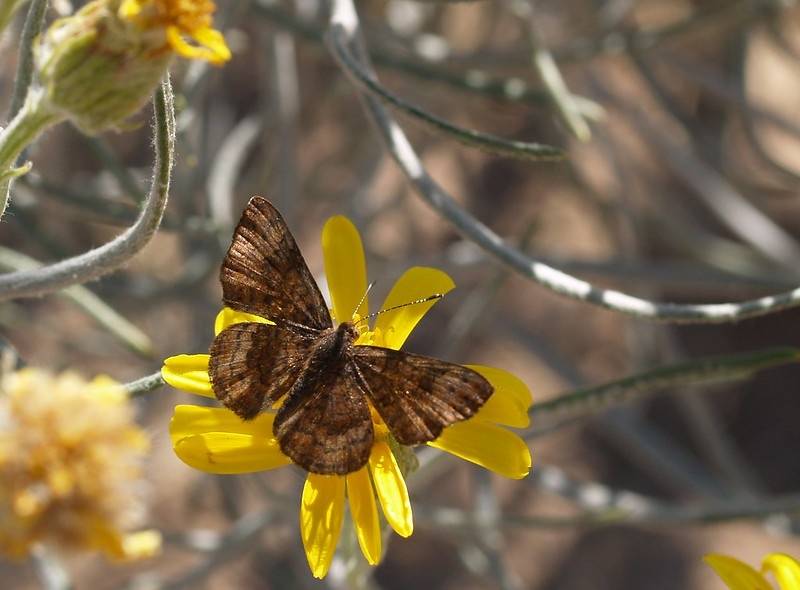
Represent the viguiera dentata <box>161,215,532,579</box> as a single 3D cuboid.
[{"bbox_3d":[-0.048,0.104,1.126,0.364,0.315,0.267,39,-64,-10],"label":"viguiera dentata"}]
